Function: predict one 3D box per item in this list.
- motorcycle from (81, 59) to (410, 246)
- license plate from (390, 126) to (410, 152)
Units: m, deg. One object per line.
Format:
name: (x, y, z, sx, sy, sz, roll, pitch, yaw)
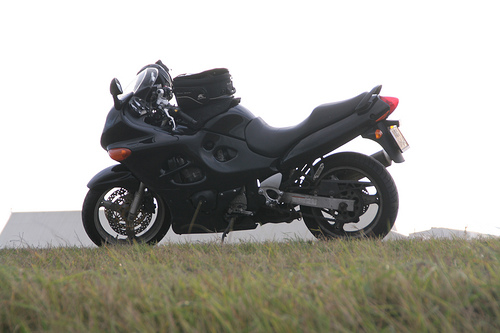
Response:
motorcycle: (-0.097, 0.065, 3.813, 2.975, 1.831, 1.126, 0, -12, 3)
license plate: (1.087, -0.205, 3.176, 0.122, 0.183, 0.092, 1, 9, 23)
